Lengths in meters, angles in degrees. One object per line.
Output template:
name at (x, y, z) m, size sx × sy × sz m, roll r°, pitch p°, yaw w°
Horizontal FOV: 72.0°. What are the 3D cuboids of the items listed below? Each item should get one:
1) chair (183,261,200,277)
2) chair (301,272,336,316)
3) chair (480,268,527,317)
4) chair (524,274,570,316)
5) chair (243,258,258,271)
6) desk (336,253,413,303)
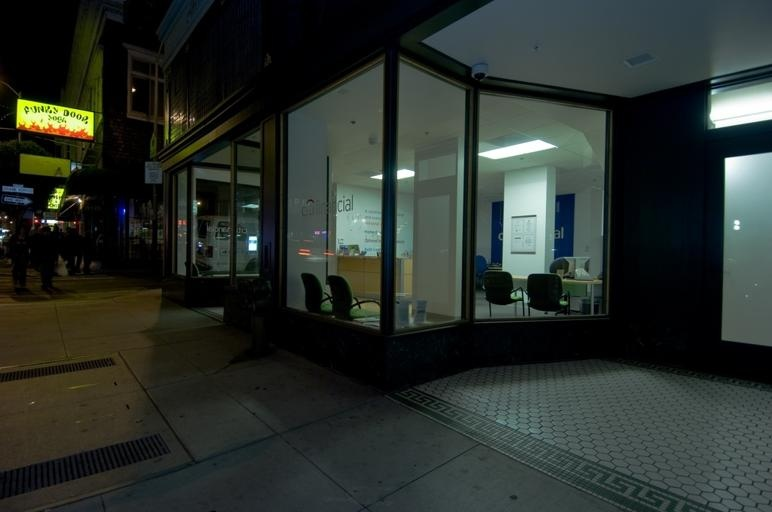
chair at (-3.988, 0.268, 10.960) m, size 0.328 × 0.324 × 0.190 m, roll 0°, pitch 7°, yaw -8°
chair at (-1.059, 0.549, 7.953) m, size 0.560 × 0.816 × 0.532 m, roll -1°, pitch 1°, yaw -39°
chair at (2.059, 0.687, 9.659) m, size 0.709 × 0.985 × 0.781 m, roll 2°, pitch 11°, yaw 33°
chair at (2.756, 0.785, 9.281) m, size 0.694 × 0.929 × 0.692 m, roll 3°, pitch 0°, yaw 25°
chair at (-2.383, 0.143, 9.375) m, size 0.178 × 0.318 × 0.203 m, roll 7°, pitch -3°, yaw 21°
desk at (-0.277, 0.237, 9.093) m, size 1.281 × 0.454 × 0.327 m, roll 4°, pitch 9°, yaw 30°
